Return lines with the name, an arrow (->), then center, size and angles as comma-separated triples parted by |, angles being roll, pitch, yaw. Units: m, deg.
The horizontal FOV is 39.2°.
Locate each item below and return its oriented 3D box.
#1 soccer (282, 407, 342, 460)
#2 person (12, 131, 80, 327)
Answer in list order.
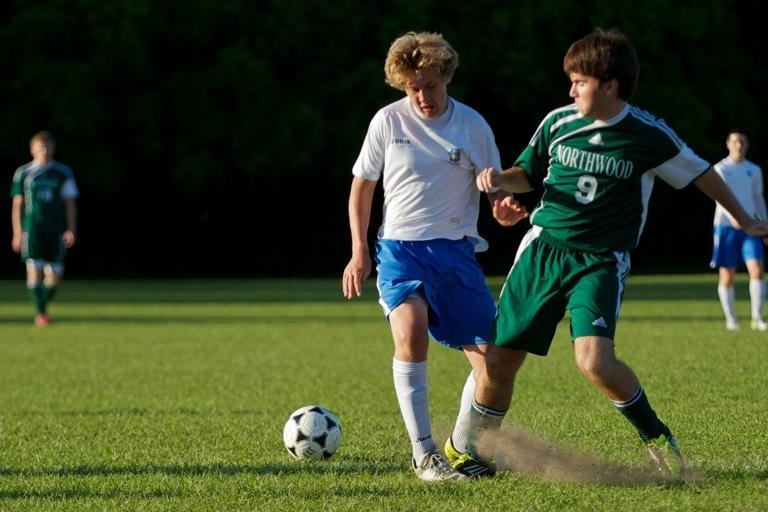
soccer -> -0.783, 1.811, 10.931 | 0.474, 0.517, 0.502 | 10, -9, -24
person -> -5.109, -0.389, 16.242 | 0.937, 2.853, 0.725 | -4, 11, -18
